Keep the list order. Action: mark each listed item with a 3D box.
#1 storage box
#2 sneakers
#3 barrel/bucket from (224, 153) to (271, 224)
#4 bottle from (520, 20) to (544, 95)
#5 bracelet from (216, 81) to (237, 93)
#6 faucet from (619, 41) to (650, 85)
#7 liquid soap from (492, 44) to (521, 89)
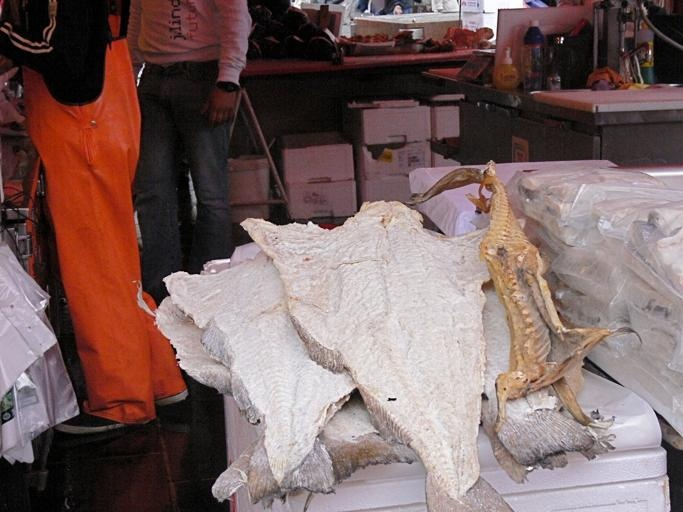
[{"bbox_3d":[0.060,-0.700,5.260,1.290,0.951,0.724,-7,27,-6],"label":"storage box"},{"bbox_3d":[-0.763,0.546,2.548,0.407,0.174,0.137,-8,19,-25],"label":"sneakers"},{"bbox_3d":[-0.584,-0.484,4.808,0.331,0.482,0.456,-3,15,-4],"label":"barrel/bucket"},{"bbox_3d":[0.973,-1.013,3.646,0.101,0.340,0.182,0,12,16],"label":"bottle"},{"bbox_3d":[-0.524,-0.774,3.288,0.054,0.019,0.060,6,-6,11],"label":"bracelet"},{"bbox_3d":[1.410,-0.924,3.457,0.123,0.181,0.265,3,13,29],"label":"faucet"},{"bbox_3d":[0.862,-0.982,3.765,0.135,0.219,0.079,1,12,20],"label":"liquid soap"}]
